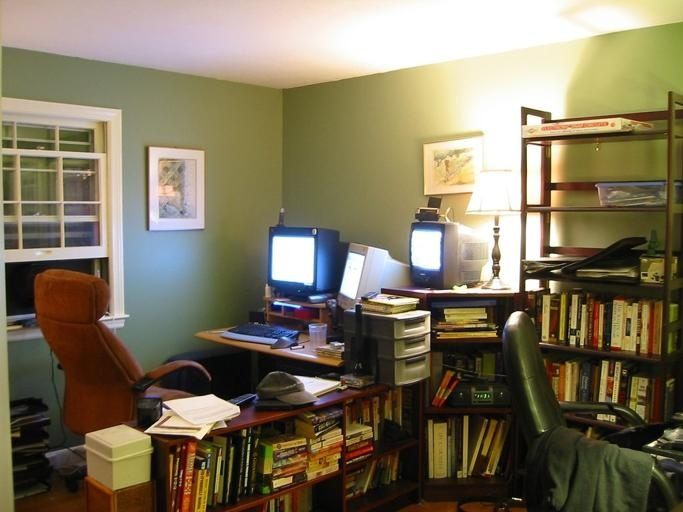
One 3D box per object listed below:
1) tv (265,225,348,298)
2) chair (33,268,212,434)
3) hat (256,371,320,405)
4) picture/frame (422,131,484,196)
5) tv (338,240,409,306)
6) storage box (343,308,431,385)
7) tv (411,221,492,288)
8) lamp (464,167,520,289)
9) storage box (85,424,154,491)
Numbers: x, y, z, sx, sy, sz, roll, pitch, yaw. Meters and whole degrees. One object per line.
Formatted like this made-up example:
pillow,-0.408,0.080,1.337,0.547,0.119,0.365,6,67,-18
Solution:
tv,-0.291,0.031,4.910,0.555,0.502,0.411,4,2,35
chair,-1.432,0.766,3.977,0.804,1.279,0.996,4,5,35
hat,-0.304,0.731,3.288,0.351,0.141,0.273,3,6,32
picture/frame,0.879,-0.711,4.498,0.600,0.543,0.062,1,-1,36
tv,0.195,0.083,4.403,0.453,0.570,0.593,5,3,-23
storage box,0.321,0.538,3.755,0.487,0.459,0.474,0,0,36
tv,0.788,-0.004,4.219,0.512,0.432,0.504,1,4,-9
lamp,1.079,-0.201,4.140,0.352,0.819,0.494,0,6,16
storage box,-1.068,0.954,2.793,0.309,0.187,0.242,2,3,40
